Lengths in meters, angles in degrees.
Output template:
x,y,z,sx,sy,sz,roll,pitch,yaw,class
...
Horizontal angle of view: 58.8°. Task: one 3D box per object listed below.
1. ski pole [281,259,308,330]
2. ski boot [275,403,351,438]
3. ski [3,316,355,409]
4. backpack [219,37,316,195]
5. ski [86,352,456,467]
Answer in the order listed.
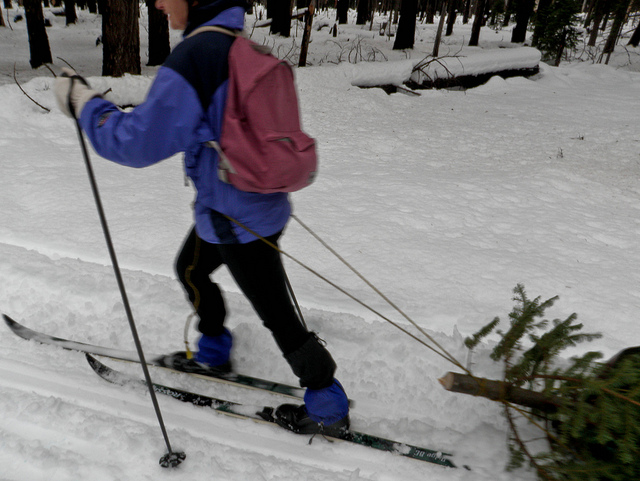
x,y,z,sx,sy,sz,roll,pitch,yaw,class
-0.189,0.390,4.017,0.065,0.592,0.045,-20,16,21,ski pole
-0.026,1.195,3.825,0.542,0.220,0.201,6,40,-2,ski boot
-1.020,0.879,3.982,2.572,0.188,0.211,11,19,7,ski
-0.280,-0.688,3.185,0.538,0.790,0.309,5,24,-2,backpack
-0.392,1.161,3.823,3.275,0.169,0.231,10,61,1,ski
